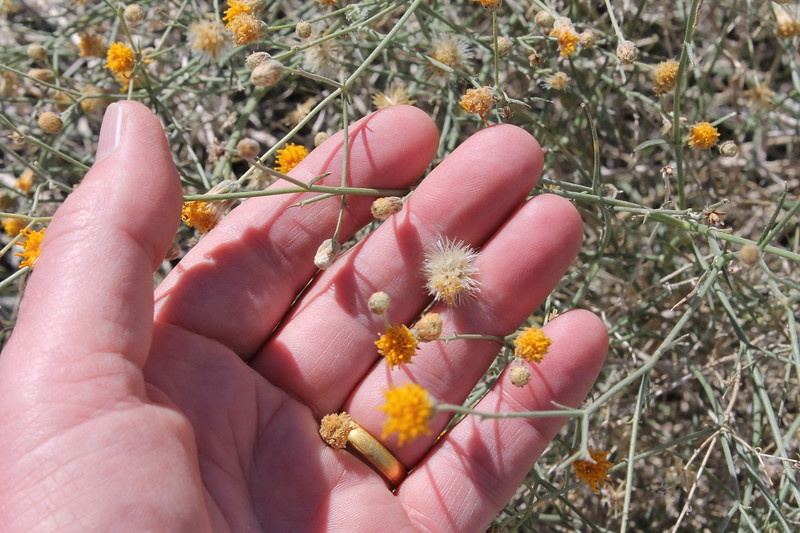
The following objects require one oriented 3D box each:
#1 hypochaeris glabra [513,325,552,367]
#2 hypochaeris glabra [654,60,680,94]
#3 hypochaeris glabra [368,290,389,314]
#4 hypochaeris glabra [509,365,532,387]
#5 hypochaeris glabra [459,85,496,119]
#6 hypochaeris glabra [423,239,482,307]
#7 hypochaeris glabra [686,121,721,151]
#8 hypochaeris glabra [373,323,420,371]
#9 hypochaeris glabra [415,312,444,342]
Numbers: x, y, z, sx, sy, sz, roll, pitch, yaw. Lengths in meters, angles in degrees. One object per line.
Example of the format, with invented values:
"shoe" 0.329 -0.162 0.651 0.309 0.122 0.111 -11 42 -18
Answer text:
"hypochaeris glabra" 0.750 0.432 4.071 0.206 0.191 0.160 58 29 -9
"hypochaeris glabra" 1.559 -1.133 4.259 0.119 0.182 0.175 3 7 4
"hypochaeris glabra" -0.108 0.200 3.985 0.092 0.121 0.115 8 82 -27
"hypochaeris glabra" 0.675 0.613 4.026 0.102 0.114 0.124 13 55 7
"hypochaeris glabra" 0.467 -0.971 4.241 0.176 0.179 0.090 6 10 14
"hypochaeris glabra" 0.302 0.124 4.264 0.293 0.162 0.311 -13 13 -15
"hypochaeris glabra" 1.805 -0.769 4.311 0.147 0.172 0.174 -25 81 -53
"hypochaeris glabra" -0.005 0.435 4.058 0.248 0.267 0.218 -2 73 25
"hypochaeris glabra" 0.156 0.344 3.949 0.152 0.185 0.133 2 43 -8
